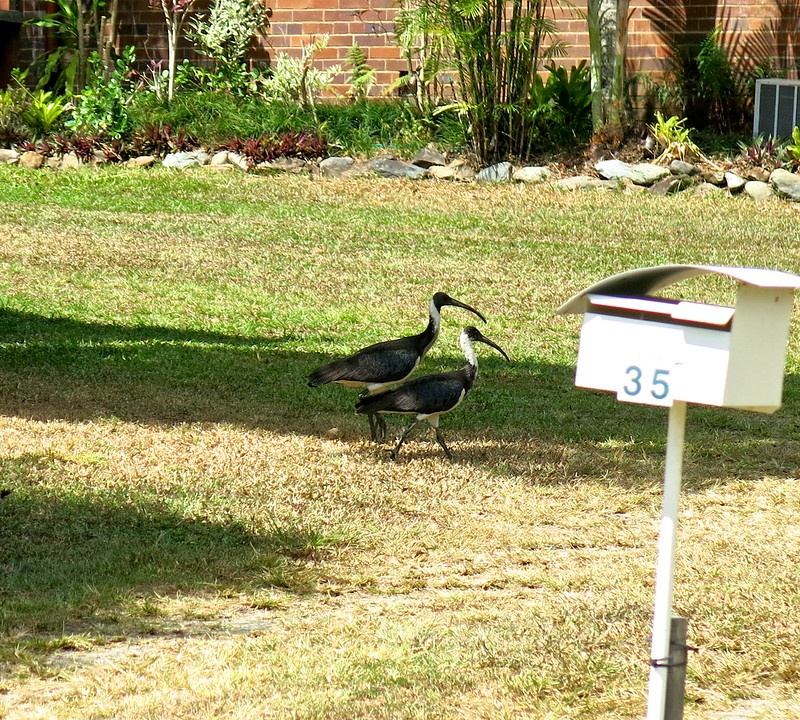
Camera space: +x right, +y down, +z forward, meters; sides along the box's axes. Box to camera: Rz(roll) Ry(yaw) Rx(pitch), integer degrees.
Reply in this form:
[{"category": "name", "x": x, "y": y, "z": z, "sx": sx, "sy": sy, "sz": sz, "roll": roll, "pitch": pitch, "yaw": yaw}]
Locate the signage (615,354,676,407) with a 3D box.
[{"category": "signage", "x": 1.717, "y": 0.135, "z": 13.787, "sx": 0.318, "sy": 0.278, "sz": 0.035, "roll": 11, "pitch": -2, "yaw": 17}]
